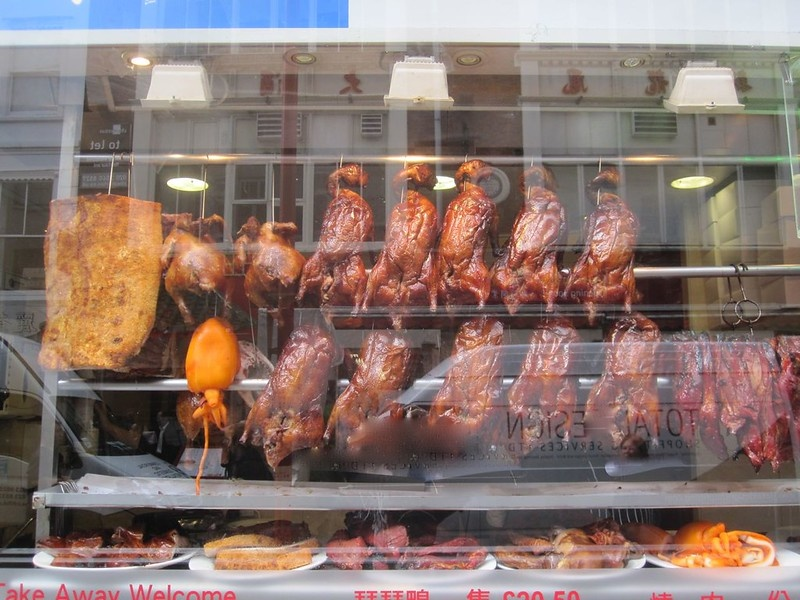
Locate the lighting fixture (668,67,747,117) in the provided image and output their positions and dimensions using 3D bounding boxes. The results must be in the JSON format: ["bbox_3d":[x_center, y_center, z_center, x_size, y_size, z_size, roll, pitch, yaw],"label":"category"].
[{"bbox_3d":[1.505,-1.025,4.200,0.268,0.161,0.260,0,12,2],"label":"lighting fixture"}]

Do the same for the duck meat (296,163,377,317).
[{"bbox_3d":[-0.253,-0.404,4.290,0.348,0.277,0.896,-14,-12,-6],"label":"duck meat"}]

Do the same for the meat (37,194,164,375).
[{"bbox_3d":[-1.445,-0.089,4.080,0.639,0.813,0.214,-1,1,-6],"label":"meat"}]

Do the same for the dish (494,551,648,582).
[{"bbox_3d":[0.792,1.209,3.884,0.695,0.072,0.132,1,4,-2],"label":"dish"}]

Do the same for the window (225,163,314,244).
[{"bbox_3d":[-0.625,-0.474,4.240,0.402,0.434,0.031,3,3,11],"label":"window"}]

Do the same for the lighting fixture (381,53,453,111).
[{"bbox_3d":[0.124,-1.072,4.194,0.354,0.225,0.195,7,27,24],"label":"lighting fixture"}]

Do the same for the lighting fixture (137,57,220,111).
[{"bbox_3d":[-1.107,-1.073,4.371,0.350,0.281,0.434,-1,2,-7],"label":"lighting fixture"}]

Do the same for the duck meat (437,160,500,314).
[{"bbox_3d":[0.357,-0.290,4.285,0.245,0.788,0.391,-1,-14,24],"label":"duck meat"}]

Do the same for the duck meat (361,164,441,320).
[{"bbox_3d":[0.053,-0.288,4.325,0.400,0.938,0.370,6,-25,-1],"label":"duck meat"}]

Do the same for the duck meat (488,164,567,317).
[{"bbox_3d":[0.671,-0.289,4.260,0.297,0.706,0.300,7,-4,17],"label":"duck meat"}]

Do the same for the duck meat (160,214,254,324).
[{"bbox_3d":[-0.976,-0.237,4.325,0.336,0.602,0.384,-9,-34,-17],"label":"duck meat"}]
